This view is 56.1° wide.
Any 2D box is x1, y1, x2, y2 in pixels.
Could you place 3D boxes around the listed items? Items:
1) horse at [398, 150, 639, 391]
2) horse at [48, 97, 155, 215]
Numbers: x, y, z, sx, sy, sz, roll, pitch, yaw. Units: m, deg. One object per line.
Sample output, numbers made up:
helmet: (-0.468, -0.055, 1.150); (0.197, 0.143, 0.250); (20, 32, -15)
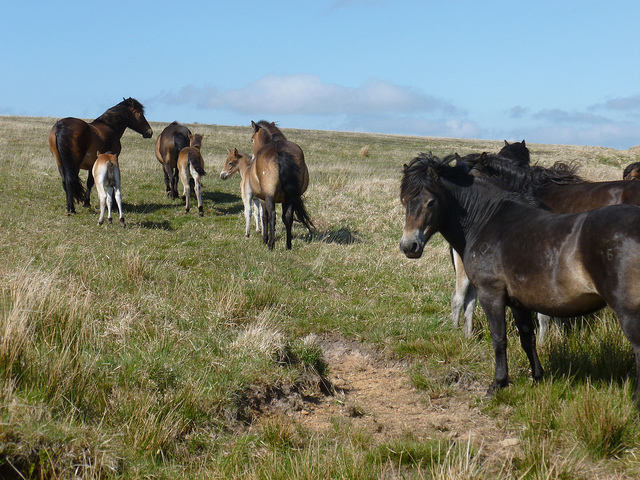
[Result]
horse: (2.401, 0.453, 7.250); (2.781, 2.744, 0.977); (9, 13, 41)
horse: (-7.232, -2.808, 19.588); (1.134, 3.526, 4.834); (7, 12, 10)
